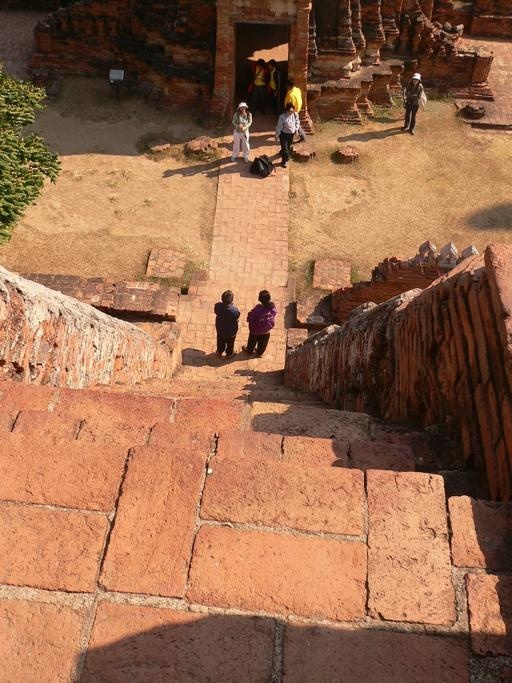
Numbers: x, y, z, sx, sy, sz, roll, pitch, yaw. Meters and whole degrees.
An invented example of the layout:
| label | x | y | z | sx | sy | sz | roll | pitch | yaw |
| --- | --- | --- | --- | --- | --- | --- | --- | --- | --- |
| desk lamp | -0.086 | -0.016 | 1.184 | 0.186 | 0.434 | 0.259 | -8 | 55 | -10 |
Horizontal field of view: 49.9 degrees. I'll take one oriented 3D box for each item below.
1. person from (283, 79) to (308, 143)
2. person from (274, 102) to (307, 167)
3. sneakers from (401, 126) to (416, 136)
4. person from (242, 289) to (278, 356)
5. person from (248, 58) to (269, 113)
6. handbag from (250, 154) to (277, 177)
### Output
| label | x | y | z | sx | sy | sz | roll | pitch | yaw |
| --- | --- | --- | --- | --- | --- | --- | --- | --- | --- |
| person | 0.727 | -4.652 | 10.987 | 0.292 | 0.970 | 0.442 | 11 | 32 | 23 |
| person | 0.685 | -4.164 | 10.942 | 0.558 | 1.189 | 0.960 | 9 | 43 | 2 |
| sneakers | 3.398 | -4.723 | 12.334 | 0.206 | 0.097 | 0.297 | 4 | 22 | -48 |
| person | 0.049 | -0.234 | 7.515 | 0.400 | 1.241 | 0.356 | -2 | 52 | -11 |
| person | 0.056 | -5.584 | 12.058 | 0.375 | 1.035 | 0.411 | 5 | 43 | -3 |
| handbag | 0.106 | -3.405 | 10.896 | 0.515 | 0.503 | 0.364 | 3 | 9 | 6 |
